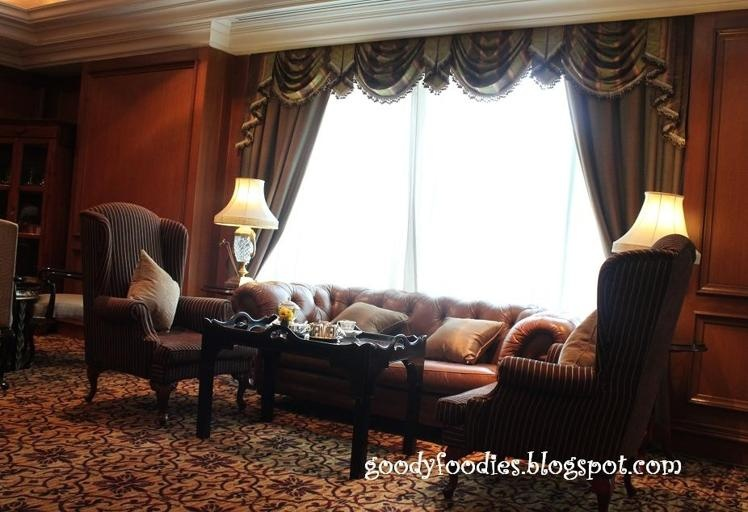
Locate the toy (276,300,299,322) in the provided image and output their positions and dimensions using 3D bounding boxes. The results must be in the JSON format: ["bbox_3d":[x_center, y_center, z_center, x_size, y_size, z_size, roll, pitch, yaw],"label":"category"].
[{"bbox_3d":[-0.596,0.383,3.758,0.126,0.121,0.131,7,-12,-30],"label":"toy"}]

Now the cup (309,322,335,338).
[{"bbox_3d":[-0.332,0.475,3.466,0.124,0.066,0.090,-3,-4,37],"label":"cup"}]

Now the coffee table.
[{"bbox_3d":[-0.411,0.833,3.595,1.371,0.796,0.715,5,4,20],"label":"coffee table"}]

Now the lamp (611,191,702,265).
[{"bbox_3d":[1.916,-0.225,3.728,0.617,0.448,0.632,4,4,20],"label":"lamp"}]

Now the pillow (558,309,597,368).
[{"bbox_3d":[1.154,0.491,3.016,0.110,0.284,0.284,20,-7,14],"label":"pillow"}]

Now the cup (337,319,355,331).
[{"bbox_3d":[-0.188,0.482,3.759,0.088,0.060,0.074,1,-1,-13],"label":"cup"}]

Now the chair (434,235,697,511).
[{"bbox_3d":[1.223,0.648,3.461,1.425,1.663,1.250,0,-3,31],"label":"chair"}]
